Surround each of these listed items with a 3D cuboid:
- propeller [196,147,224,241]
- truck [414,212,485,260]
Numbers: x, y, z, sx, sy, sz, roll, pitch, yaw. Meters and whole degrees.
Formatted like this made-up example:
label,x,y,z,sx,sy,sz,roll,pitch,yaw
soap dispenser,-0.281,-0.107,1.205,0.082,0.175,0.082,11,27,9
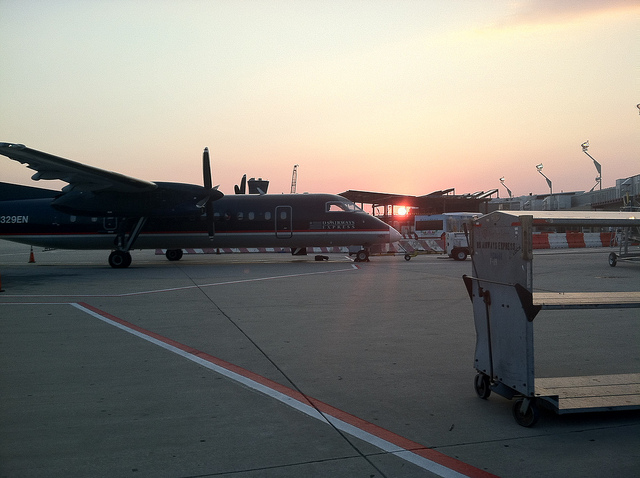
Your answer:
label,x,y,z,sx,sy,sz,roll,pitch,yaw
propeller,-4.640,-1.796,24.431,0.868,3.903,1.338,1,12,6
truck,7.940,-0.198,34.961,3.158,2.360,5.083,2,6,42
